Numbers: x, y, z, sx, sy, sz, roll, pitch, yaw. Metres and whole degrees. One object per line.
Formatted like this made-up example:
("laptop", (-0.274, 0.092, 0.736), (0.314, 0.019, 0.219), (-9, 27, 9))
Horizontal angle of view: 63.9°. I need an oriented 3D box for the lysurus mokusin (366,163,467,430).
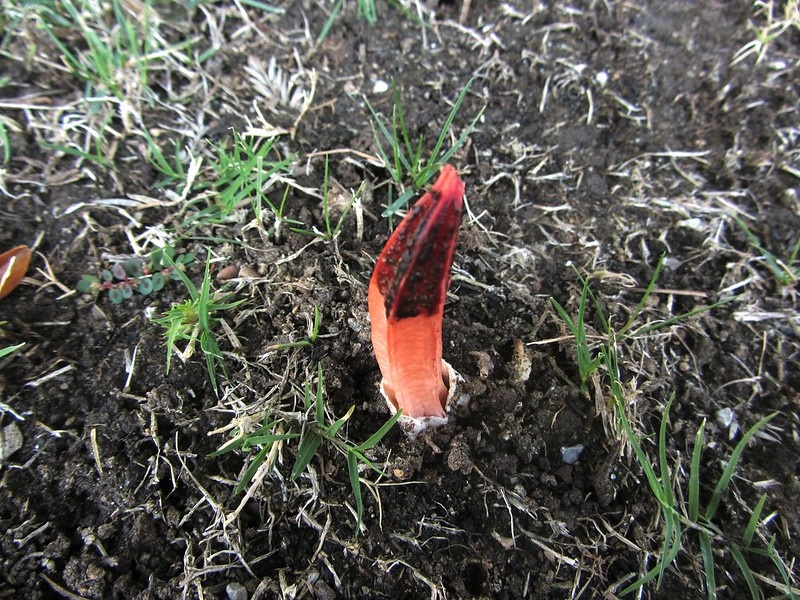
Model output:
("lysurus mokusin", (0.086, 0.052, 3.006), (0.497, 1.491, 0.444), (9, 46, 15))
